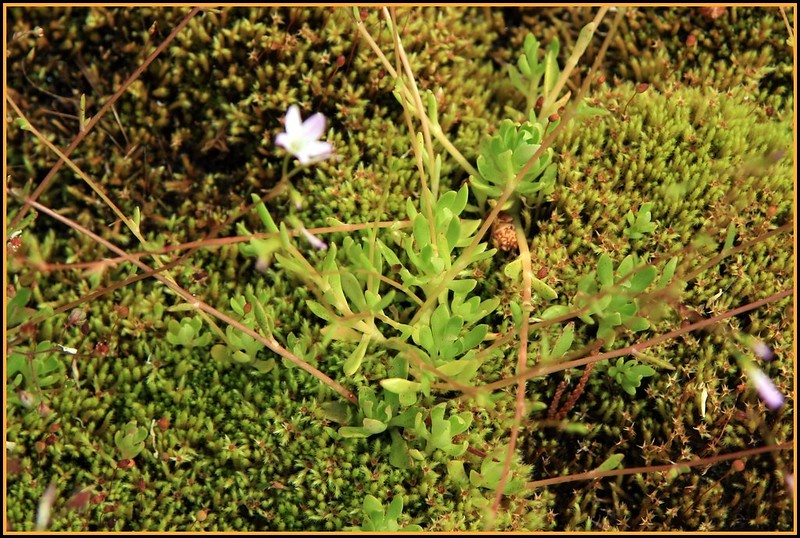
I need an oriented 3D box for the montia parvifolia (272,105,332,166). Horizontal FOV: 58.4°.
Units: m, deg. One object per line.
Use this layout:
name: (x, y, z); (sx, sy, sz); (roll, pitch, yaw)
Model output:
montia parvifolia: (-0.557, -0.715, 4.030); (0.385, 0.242, 0.399); (-7, 88, -5)
